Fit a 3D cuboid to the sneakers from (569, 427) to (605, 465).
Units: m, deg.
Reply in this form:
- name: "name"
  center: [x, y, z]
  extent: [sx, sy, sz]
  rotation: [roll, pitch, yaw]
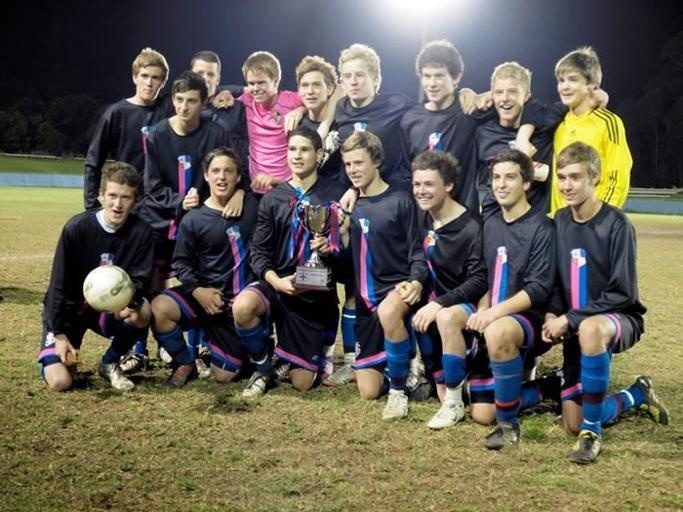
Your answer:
- name: "sneakers"
  center: [1.619, 1.227, 3.884]
  extent: [0.132, 0.156, 0.378]
  rotation: [-6, 3, 44]

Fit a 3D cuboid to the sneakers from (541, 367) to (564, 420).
- name: "sneakers"
  center: [1.605, 1.039, 4.556]
  extent: [0.089, 0.266, 0.256]
  rotation: [7, -3, -5]

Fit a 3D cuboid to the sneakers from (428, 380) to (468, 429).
- name: "sneakers"
  center: [0.784, 1.070, 4.335]
  extent: [0.159, 0.265, 0.413]
  rotation: [8, 12, 38]

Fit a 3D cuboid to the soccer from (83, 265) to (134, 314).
- name: "soccer"
  center: [-1.749, 0.251, 4.574]
  extent: [0.305, 0.401, 0.344]
  rotation: [-4, 29, -7]

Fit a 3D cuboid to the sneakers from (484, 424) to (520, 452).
- name: "sneakers"
  center: [1.085, 1.206, 4.015]
  extent: [0.109, 0.131, 0.313]
  rotation: [-2, -2, 43]

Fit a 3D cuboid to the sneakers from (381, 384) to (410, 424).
- name: "sneakers"
  center: [0.405, 1.098, 4.486]
  extent: [0.192, 0.173, 0.314]
  rotation: [3, 10, 9]
